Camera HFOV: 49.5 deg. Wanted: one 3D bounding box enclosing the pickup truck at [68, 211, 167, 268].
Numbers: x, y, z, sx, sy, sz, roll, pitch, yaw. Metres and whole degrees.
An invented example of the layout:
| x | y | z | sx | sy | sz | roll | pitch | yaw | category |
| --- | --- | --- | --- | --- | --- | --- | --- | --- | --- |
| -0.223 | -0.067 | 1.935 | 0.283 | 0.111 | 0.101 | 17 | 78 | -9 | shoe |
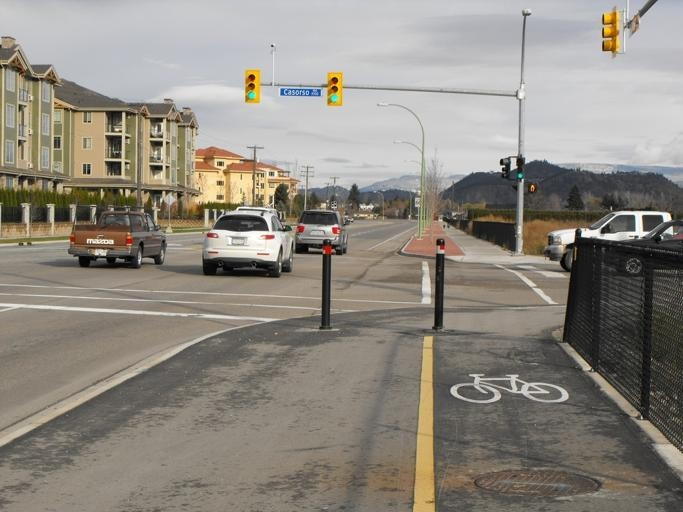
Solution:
| x | y | z | sx | sy | sz | roll | pitch | yaw | category |
| --- | --- | --- | --- | --- | --- | --- | --- | --- | --- |
| -7.046 | -0.566 | 23.678 | 1.882 | 1.795 | 3.074 | 2 | 6 | 17 | pickup truck |

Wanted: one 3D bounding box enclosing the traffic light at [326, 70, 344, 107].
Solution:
| x | y | z | sx | sy | sz | roll | pitch | yaw | category |
| --- | --- | --- | --- | --- | --- | --- | --- | --- | --- |
| -0.246 | -5.972 | 26.448 | 0.508 | 1.179 | 1.197 | 0 | 6 | -3 | traffic light |

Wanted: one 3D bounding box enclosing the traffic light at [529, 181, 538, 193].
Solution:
| x | y | z | sx | sy | sz | roll | pitch | yaw | category |
| --- | --- | --- | --- | --- | --- | --- | --- | --- | --- |
| 8.364 | -3.054 | 32.624 | 0.305 | 0.607 | 0.574 | 0 | 4 | -10 | traffic light |

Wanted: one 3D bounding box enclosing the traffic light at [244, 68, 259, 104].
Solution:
| x | y | z | sx | sy | sz | roll | pitch | yaw | category |
| --- | --- | --- | --- | --- | --- | --- | --- | --- | --- |
| -3.146 | -6.074 | 26.317 | 0.476 | 1.089 | 1.077 | -1 | 6 | -12 | traffic light |

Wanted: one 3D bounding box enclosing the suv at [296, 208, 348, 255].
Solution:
| x | y | z | sx | sy | sz | roll | pitch | yaw | category |
| --- | --- | --- | --- | --- | --- | --- | --- | --- | --- |
| -0.907 | -1.208 | 33.555 | 1.465 | 1.494 | 3.201 | 1 | 6 | 10 | suv |
